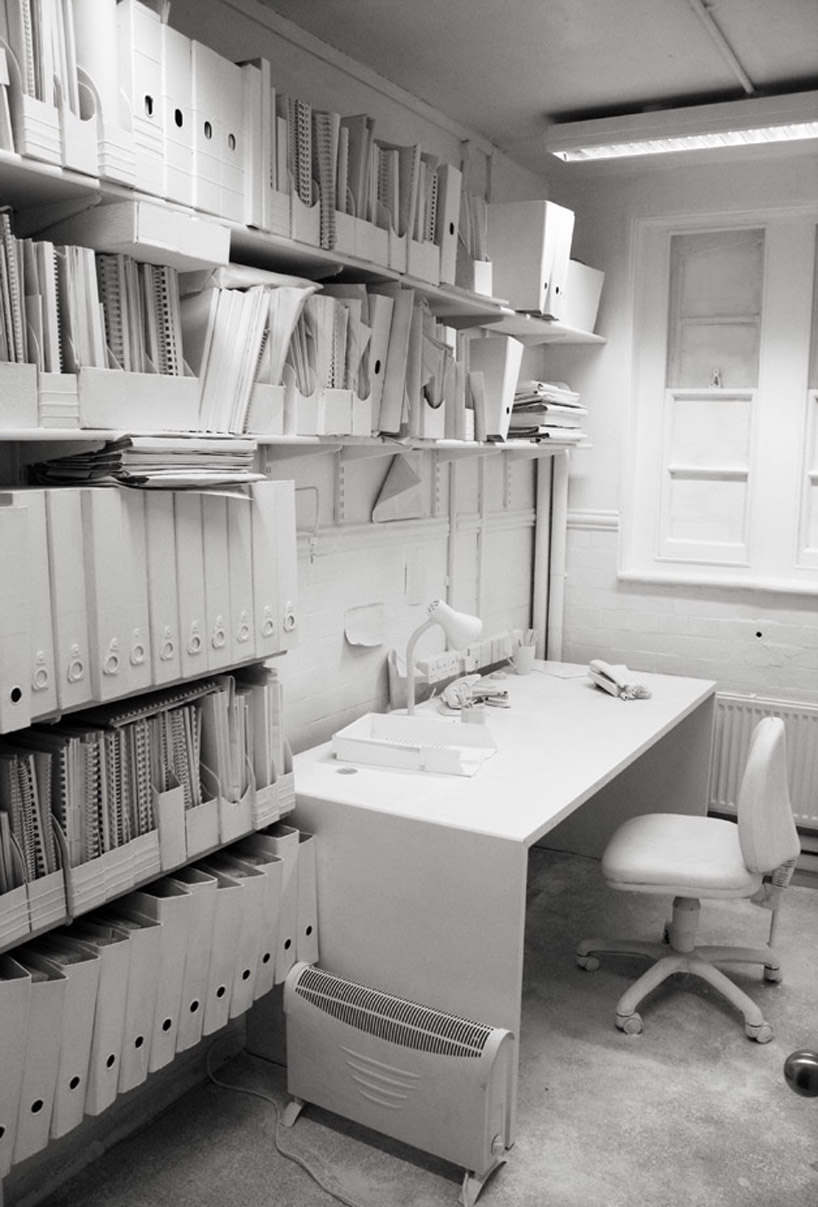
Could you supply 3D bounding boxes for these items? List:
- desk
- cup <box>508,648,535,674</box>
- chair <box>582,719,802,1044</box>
[{"bbox_3d":[0.324,0.624,2.432,0.698,0.754,1.722,2,4,30],"label":"desk"},{"bbox_3d":[0.394,0.189,2.997,0.056,0.087,0.088,-3,10,-34],"label":"cup"},{"bbox_3d":[0.686,0.585,2.503,0.632,0.979,0.665,2,11,12],"label":"chair"}]
